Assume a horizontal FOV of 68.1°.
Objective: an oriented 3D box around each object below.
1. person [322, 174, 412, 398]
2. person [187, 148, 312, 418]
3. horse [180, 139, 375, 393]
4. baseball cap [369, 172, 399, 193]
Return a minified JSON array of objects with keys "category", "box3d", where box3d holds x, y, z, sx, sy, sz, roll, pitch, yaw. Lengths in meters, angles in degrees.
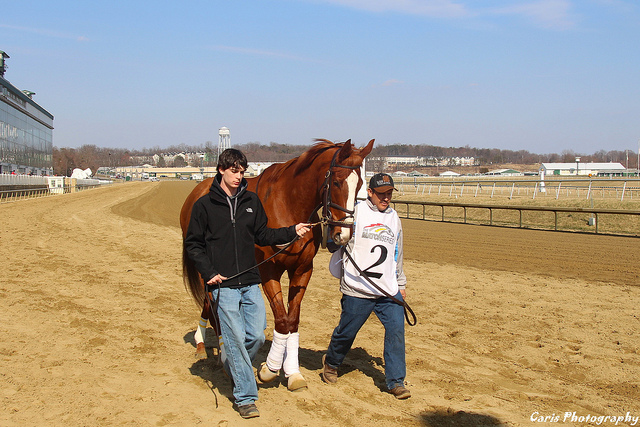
[{"category":"person","box3d":[0.601,0.842,5.603,0.987,2.610,0.776,-2,6,-16]},{"category":"person","box3d":[-0.862,0.715,5.015,1.008,2.759,0.442,0,6,-1]},{"category":"horse","box3d":[-0.841,0.717,6.439,1.013,3.130,4.151,3,-6,-39]},{"category":"baseball cap","box3d":[0.728,-0.354,5.442,0.310,0.211,0.266,2,6,21]}]
